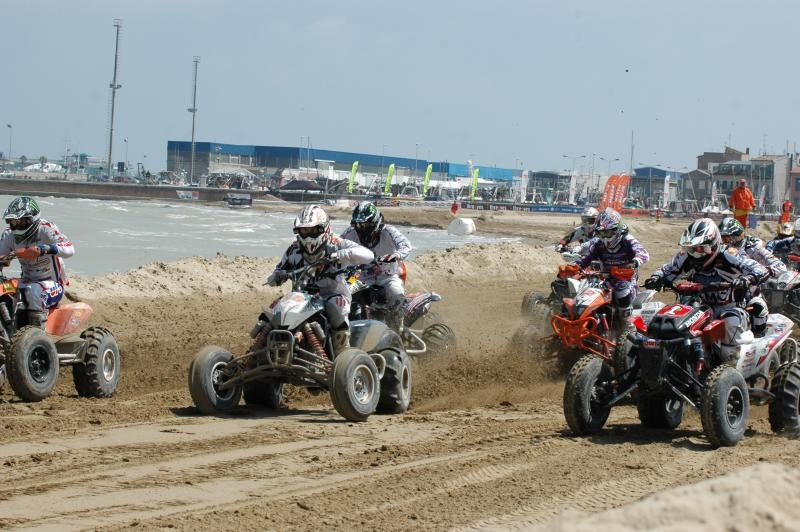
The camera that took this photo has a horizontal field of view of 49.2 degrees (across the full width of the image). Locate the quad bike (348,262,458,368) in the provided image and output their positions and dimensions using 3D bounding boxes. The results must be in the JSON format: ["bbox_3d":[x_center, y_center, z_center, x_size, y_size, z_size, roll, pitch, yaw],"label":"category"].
[{"bbox_3d":[-0.139,0.968,13.966,2.254,1.434,0.951,-10,-1,28],"label":"quad bike"}]

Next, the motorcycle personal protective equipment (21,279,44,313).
[{"bbox_3d":[-5.020,0.427,11.952,0.312,0.382,0.128,-2,8,-25],"label":"motorcycle personal protective equipment"}]

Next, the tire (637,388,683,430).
[{"bbox_3d":[3.175,1.734,10.644,0.532,0.535,0.203,11,-5,-39],"label":"tire"}]

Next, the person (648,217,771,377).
[{"bbox_3d":[3.915,0.493,11.114,1.421,2.073,1.391,-1,8,31],"label":"person"}]

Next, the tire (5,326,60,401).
[{"bbox_3d":[-4.851,1.281,11.487,0.233,0.796,0.820,-7,10,19],"label":"tire"}]

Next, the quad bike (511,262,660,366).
[{"bbox_3d":[3.147,0.627,14.304,1.880,1.435,3.015,9,18,22],"label":"quad bike"}]

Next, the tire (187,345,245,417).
[{"bbox_3d":[-2.334,1.502,11.131,0.246,0.707,0.657,1,-17,11],"label":"tire"}]

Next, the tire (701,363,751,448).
[{"bbox_3d":[3.732,1.594,10.025,0.714,0.865,0.351,-6,10,-44],"label":"tire"}]

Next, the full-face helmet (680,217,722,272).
[{"bbox_3d":[3.803,-0.274,11.010,0.659,0.584,0.447,-17,12,-38],"label":"full-face helmet"}]

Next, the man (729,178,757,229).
[{"bbox_3d":[10.155,-1.746,25.790,0.695,1.588,0.440,3,1,24],"label":"man"}]

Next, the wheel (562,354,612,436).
[{"bbox_3d":[2.228,1.515,10.286,0.664,0.893,0.325,-4,9,-36],"label":"wheel"}]

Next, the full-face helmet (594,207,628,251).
[{"bbox_3d":[3.404,-0.585,14.036,0.409,0.640,0.609,5,8,27],"label":"full-face helmet"}]

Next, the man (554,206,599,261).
[{"bbox_3d":[3.342,-0.592,16.066,0.909,0.750,1.334,2,13,28],"label":"man"}]

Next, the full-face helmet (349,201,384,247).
[{"bbox_3d":[-0.434,-0.658,13.341,0.469,0.612,0.659,-4,3,14],"label":"full-face helmet"}]

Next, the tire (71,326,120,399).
[{"bbox_3d":[-4.268,1.381,12.217,0.242,0.770,0.763,-2,23,21],"label":"tire"}]

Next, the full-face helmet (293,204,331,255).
[{"bbox_3d":[-1.136,-0.468,11.380,0.464,0.632,0.651,-3,-5,8],"label":"full-face helmet"}]

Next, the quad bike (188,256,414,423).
[{"bbox_3d":[-1.189,1.070,11.964,2.560,2.052,3.303,1,-8,3],"label":"quad bike"}]

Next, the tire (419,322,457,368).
[{"bbox_3d":[0.540,1.250,14.333,0.595,0.596,0.479,12,18,17],"label":"tire"}]

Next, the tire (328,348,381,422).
[{"bbox_3d":[-0.576,1.501,10.943,0.258,0.814,0.753,-10,-14,34],"label":"tire"}]

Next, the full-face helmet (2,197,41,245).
[{"bbox_3d":[-5.278,-0.650,12.194,0.435,0.619,0.428,-2,8,-24],"label":"full-face helmet"}]
